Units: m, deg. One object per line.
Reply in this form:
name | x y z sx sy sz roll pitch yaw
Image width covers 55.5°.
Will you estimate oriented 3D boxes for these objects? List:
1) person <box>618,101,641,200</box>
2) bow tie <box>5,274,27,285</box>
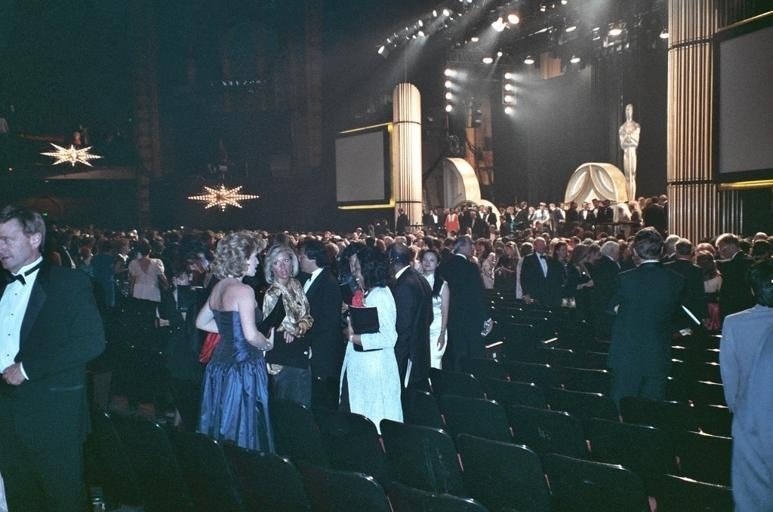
person | 8.467 -3.674 25.563 0.699 3.399 1.066 1 2 14
bow tie | -3.794 0.227 7.540 0.198 0.110 0.041 1 2 19
